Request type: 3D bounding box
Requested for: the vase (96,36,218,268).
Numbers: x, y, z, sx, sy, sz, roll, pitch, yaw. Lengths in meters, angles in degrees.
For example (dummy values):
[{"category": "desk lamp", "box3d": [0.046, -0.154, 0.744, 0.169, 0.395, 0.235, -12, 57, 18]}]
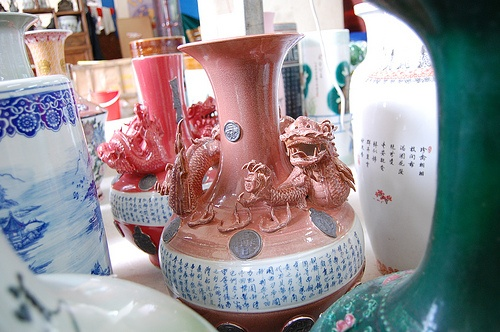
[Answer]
[{"category": "vase", "box3d": [-0.187, -0.121, 1.260, 0.504, 0.635, 0.519, -7, 16, -18]}]
